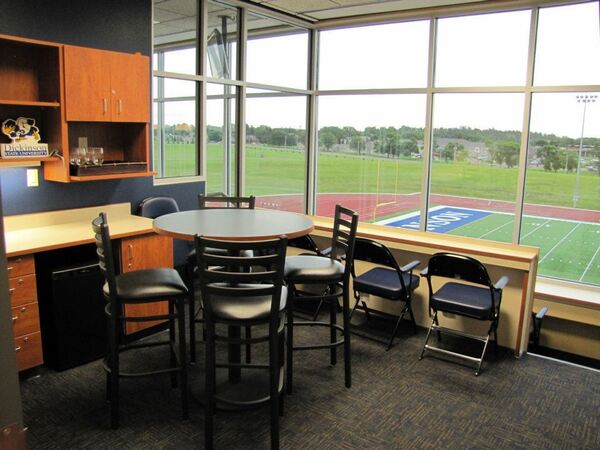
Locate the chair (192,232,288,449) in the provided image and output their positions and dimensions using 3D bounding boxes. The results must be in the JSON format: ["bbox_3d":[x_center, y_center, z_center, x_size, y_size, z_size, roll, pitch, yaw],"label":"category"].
[{"bbox_3d":[-0.394,0.707,3.199,0.705,1.456,1.229,-2,12,-10],"label":"chair"}]

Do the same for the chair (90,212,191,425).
[{"bbox_3d":[-1.207,0.622,3.349,0.678,1.521,0.998,-5,13,-22],"label":"chair"}]

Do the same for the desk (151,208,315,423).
[{"bbox_3d":[-0.470,0.621,3.578,1.437,1.463,1.361,0,13,-2],"label":"desk"}]

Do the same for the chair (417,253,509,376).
[{"bbox_3d":[1.589,0.748,4.200,0.767,1.044,0.919,7,13,26],"label":"chair"}]

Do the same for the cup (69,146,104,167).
[{"bbox_3d":[-2.031,-0.650,4.087,0.180,0.118,0.270,6,10,30],"label":"cup"}]

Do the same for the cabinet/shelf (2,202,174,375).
[{"bbox_3d":[-1.788,0.555,3.539,0.765,1.011,1.437,6,10,39],"label":"cabinet/shelf"}]
